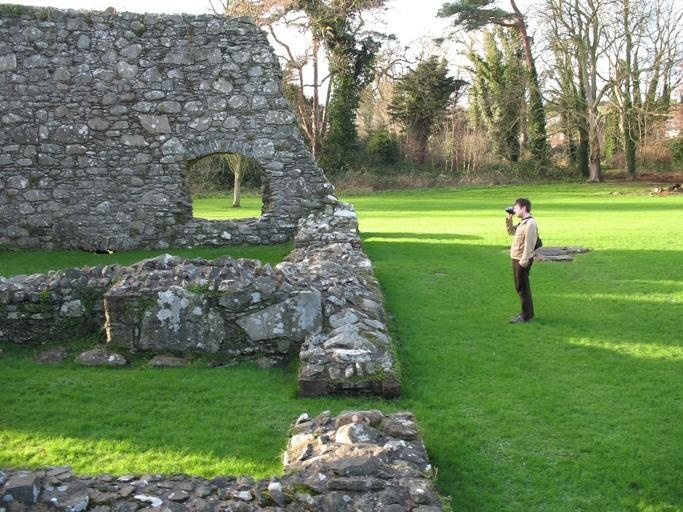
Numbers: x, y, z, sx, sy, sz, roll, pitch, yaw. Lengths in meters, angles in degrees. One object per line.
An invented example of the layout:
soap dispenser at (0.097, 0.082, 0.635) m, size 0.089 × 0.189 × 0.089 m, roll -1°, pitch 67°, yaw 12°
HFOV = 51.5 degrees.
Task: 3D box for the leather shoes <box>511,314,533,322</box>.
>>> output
leather shoes at (3.222, 1.107, 12.697) m, size 0.304 × 0.095 × 0.157 m, roll 2°, pitch -1°, yaw 7°
